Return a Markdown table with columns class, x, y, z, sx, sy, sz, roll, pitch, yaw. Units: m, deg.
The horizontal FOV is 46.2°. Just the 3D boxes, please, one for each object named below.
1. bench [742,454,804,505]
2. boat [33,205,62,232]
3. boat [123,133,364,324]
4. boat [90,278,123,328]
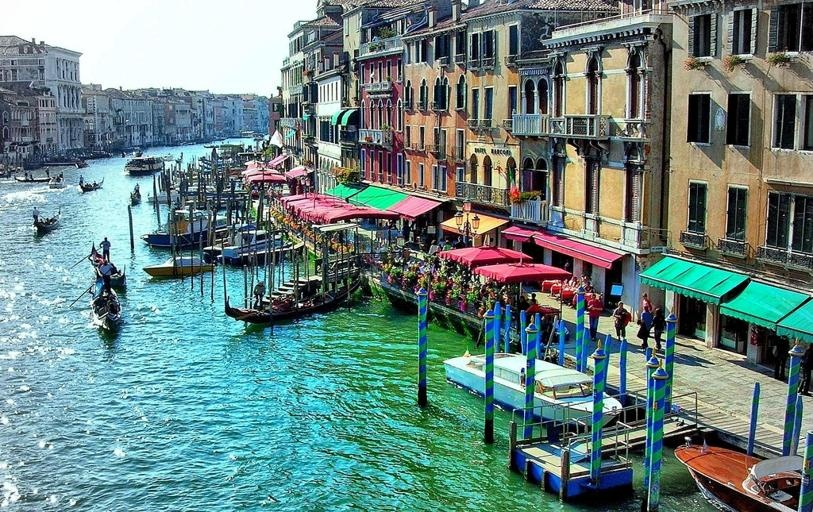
| class | x | y | z | sx | sy | sz | roll | pitch | yaw |
| --- | --- | --- | --- | --- | --- | --- | --- | --- | --- |
| bench | 16.643 | 10.199 | 43.416 | 2.297 | 2.055 | 1.309 | 2 | 10 | 16 |
| boat | -41.436 | -4.269 | 109.866 | 1.596 | 2.582 | 6.894 | 4 | 17 | -5 |
| boat | -15.252 | -1.836 | 85.389 | 16.241 | 7.584 | 40.861 | -3 | 10 | -16 |
| boat | -21.881 | 3.379 | 69.285 | 1.979 | 3.187 | 4.258 | -4 | 10 | -19 |
